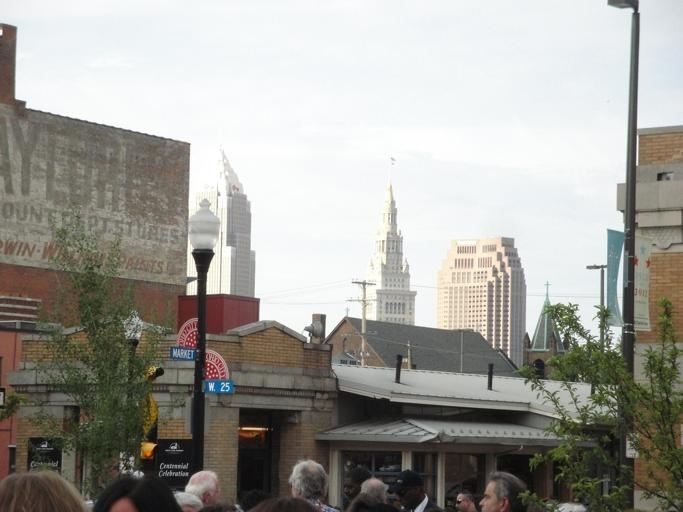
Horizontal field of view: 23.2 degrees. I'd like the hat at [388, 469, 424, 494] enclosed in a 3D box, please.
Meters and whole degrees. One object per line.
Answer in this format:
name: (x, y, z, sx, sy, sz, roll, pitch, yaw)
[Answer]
hat: (1.329, 4.599, 34.639, 0.625, 0.411, 0.460, -1, -3, -9)
